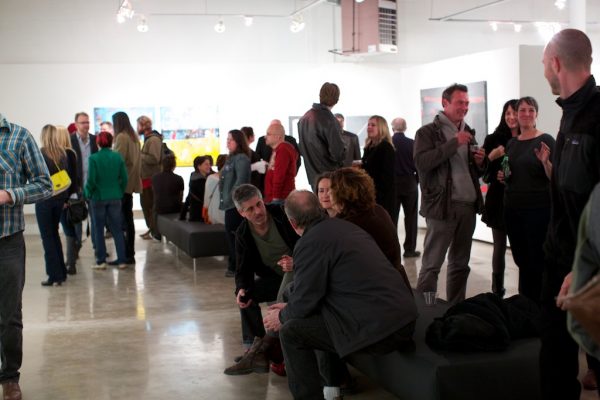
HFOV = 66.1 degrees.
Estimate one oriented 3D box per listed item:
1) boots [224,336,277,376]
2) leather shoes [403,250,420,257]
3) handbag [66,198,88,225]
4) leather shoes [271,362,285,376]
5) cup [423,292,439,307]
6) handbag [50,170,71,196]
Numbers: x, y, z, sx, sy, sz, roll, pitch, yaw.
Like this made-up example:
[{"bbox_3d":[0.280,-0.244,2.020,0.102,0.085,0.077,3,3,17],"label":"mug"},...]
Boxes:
[{"bbox_3d":[-0.423,1.289,3.801,0.407,0.285,0.151,-9,-23,17],"label":"boots"},{"bbox_3d":[1.748,0.803,7.148,0.310,0.141,0.102,-8,10,-41],"label":"leather shoes"},{"bbox_3d":[-3.235,0.154,6.646,0.352,0.325,0.179,-10,14,-44],"label":"handbag"},{"bbox_3d":[-0.174,1.365,3.733,0.114,0.066,0.103,-1,-3,19],"label":"leather shoes"},{"bbox_3d":[1.033,0.785,3.656,0.091,0.072,0.104,2,4,41],"label":"cup"},{"bbox_3d":[-2.968,-0.220,5.696,0.280,0.299,0.156,-23,7,-21],"label":"handbag"}]
